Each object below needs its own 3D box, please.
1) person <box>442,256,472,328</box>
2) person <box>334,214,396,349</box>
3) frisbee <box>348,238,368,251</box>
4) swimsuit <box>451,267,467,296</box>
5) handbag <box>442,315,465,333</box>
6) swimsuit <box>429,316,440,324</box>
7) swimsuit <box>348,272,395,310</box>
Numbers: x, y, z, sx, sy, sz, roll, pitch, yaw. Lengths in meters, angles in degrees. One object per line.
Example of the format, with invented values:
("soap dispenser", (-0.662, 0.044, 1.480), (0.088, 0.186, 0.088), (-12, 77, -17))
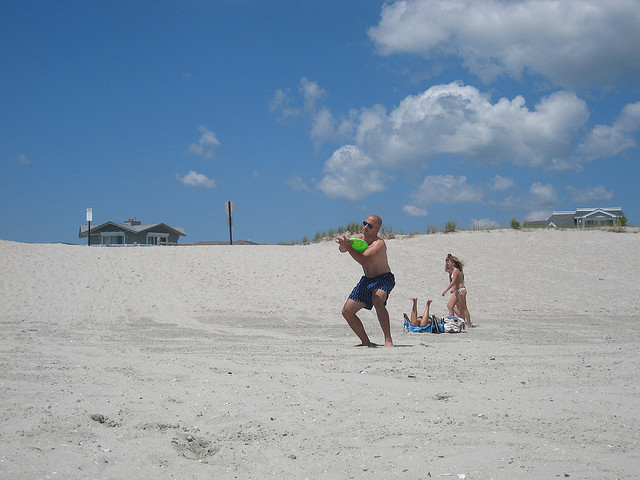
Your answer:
("person", (3.081, 1.208, 13.357), (0.593, 0.480, 1.393), (4, 37, 10))
("person", (0.772, 0.649, 9.501), (0.835, 2.079, 0.661), (-1, -1, 4))
("frisbee", (0.606, 0.068, 9.470), (0.355, 0.202, 0.249), (-1, -1, -10))
("swimsuit", (2.835, 0.834, 12.143), (0.272, 0.528, 0.274), (-1, -1, 13))
("handbag", (2.561, 1.600, 11.297), (0.411, 0.238, 0.355), (-1, -1, 2))
("swimsuit", (2.220, 1.525, 11.428), (0.170, 0.137, 0.223), (-1, -1, 6))
("swimsuit", (0.853, 0.824, 9.706), (0.649, 0.588, 0.382), (-1, -1, 23))
